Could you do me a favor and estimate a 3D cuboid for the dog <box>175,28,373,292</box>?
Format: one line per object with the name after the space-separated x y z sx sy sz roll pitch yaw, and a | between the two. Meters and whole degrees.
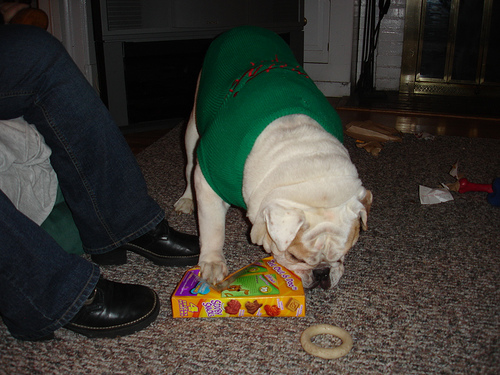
0.048 -0.244 1.639 0.482 0.699 1.205 -10 56 -20 | dog

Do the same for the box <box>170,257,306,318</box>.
-0.036 0.365 1.457 0.456 0.143 0.149 3 30 1 | box
